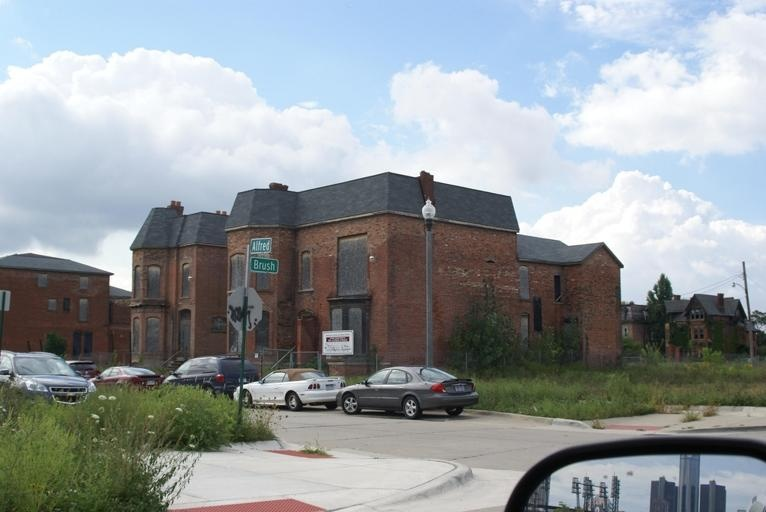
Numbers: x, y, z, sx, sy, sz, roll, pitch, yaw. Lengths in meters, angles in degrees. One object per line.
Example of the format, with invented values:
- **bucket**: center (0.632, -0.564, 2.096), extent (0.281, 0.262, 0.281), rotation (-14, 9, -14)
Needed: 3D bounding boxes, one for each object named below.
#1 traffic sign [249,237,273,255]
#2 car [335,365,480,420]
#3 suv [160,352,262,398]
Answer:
- **traffic sign**: center (-4.518, -0.389, 29.960), extent (0.190, 0.869, 1.343), rotation (4, -4, -29)
- **car**: center (0.756, 4.476, 26.566), extent (4.141, 1.633, 1.222), rotation (-8, -12, 35)
- **suv**: center (-5.875, 4.785, 30.035), extent (3.978, 1.851, 2.203), rotation (-2, -6, 40)
